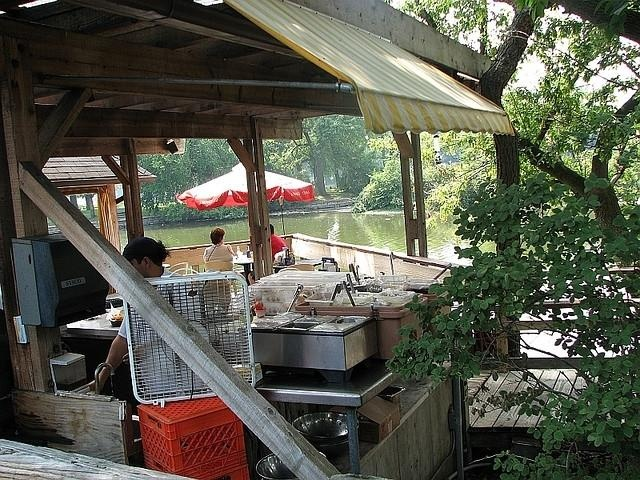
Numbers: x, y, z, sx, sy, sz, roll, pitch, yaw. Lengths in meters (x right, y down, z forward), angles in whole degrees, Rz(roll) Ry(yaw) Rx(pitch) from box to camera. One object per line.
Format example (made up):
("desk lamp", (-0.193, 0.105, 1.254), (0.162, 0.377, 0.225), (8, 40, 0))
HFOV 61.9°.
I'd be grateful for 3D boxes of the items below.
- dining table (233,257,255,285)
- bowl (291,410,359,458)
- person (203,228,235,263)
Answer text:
("dining table", (-1.006, 0.393, 7.213), (0.283, 0.322, 0.294), (-29, 35, -35))
("bowl", (0.028, 1.272, 3.481), (0.362, 0.176, 0.507), (-2, 4, -10))
("person", (-1.653, 0.165, 8.831), (0.529, 0.701, 0.453), (-4, 1, 2))
